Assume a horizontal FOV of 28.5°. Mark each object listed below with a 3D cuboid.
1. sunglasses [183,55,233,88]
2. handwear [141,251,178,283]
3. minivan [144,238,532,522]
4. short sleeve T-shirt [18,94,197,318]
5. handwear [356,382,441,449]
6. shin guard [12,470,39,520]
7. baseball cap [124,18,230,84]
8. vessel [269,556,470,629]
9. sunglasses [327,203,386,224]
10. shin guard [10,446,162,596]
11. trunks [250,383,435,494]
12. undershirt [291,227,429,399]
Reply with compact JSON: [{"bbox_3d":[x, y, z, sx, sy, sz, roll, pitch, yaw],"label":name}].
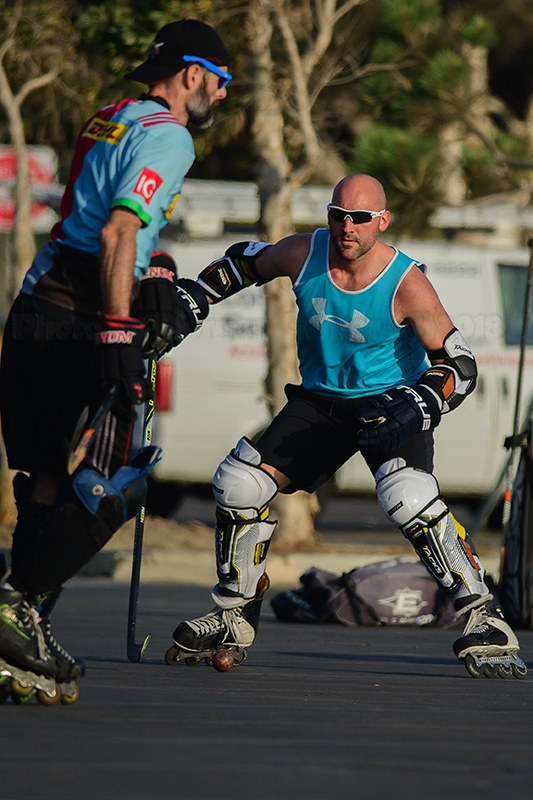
[{"bbox_3d":[-0.174,-0.993,3.158,0.084,0.021,0.080,25,-7,-19],"label":"sunglasses"},{"bbox_3d":[-0.316,-0.402,3.188,0.096,0.044,0.119,-1,42,8],"label":"handwear"},{"bbox_3d":[0.440,-0.245,8.994,3.283,1.445,1.764,0,-2,-10],"label":"minivan"},{"bbox_3d":[-0.457,-0.541,3.018,0.339,0.646,0.543,5,20,-37],"label":"short sleeve T-shirt"},{"bbox_3d":[0.444,0.074,3.587,0.170,0.216,0.319,11,15,32],"label":"handwear"},{"bbox_3d":[-0.661,0.260,2.886,0.092,0.116,0.074,-1,-29,-1],"label":"shin guard"},{"bbox_3d":[-0.265,-1.052,3.192,0.321,0.157,0.189,-4,12,-17],"label":"baseball cap"},{"bbox_3d":[0.453,0.981,5.291,0.730,0.219,0.461,0,-5,-1],"label":"vessel"},{"bbox_3d":[0.316,-0.655,3.706,0.199,0.063,0.130,3,12,1],"label":"sunglasses"},{"bbox_3d":[-0.469,0.269,2.783,0.246,0.508,0.154,32,-6,-14],"label":"shin guard"},{"bbox_3d":[0.199,0.148,3.828,0.490,0.161,0.474,-10,-13,26],"label":"trunks"},{"bbox_3d":[0.359,-0.312,3.840,0.385,0.555,0.498,-26,36,-36],"label":"undershirt"}]
